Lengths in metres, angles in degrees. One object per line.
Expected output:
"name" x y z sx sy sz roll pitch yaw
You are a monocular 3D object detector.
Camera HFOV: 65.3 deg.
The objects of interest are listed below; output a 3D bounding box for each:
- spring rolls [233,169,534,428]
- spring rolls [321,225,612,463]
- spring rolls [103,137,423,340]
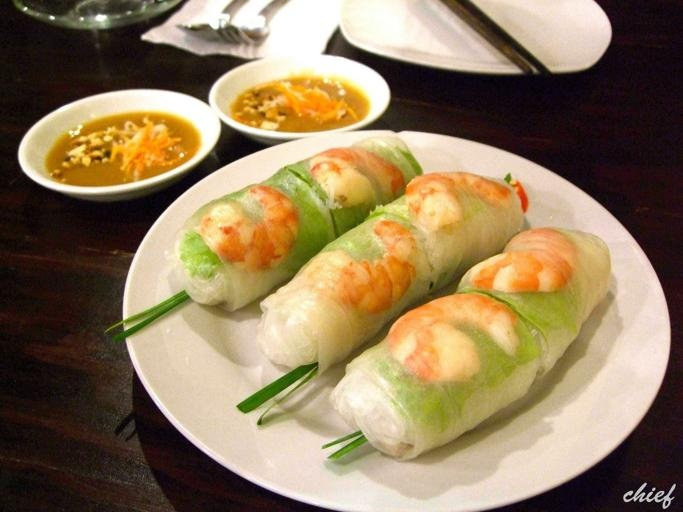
"spring rolls" 0.177 -0.013 1.878 1.341 0.400 0.398 -32 57 -19
"spring rolls" 0.394 0.254 1.546 1.047 0.202 0.377 -33 66 -24
"spring rolls" -0.281 -0.085 1.856 0.334 0.318 1.159 39 64 23
